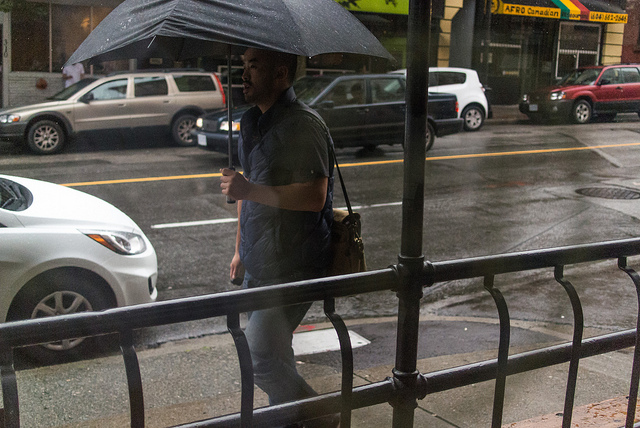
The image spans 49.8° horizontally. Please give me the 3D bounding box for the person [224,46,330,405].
[{"bbox_3d":[-0.247,0.097,4.663,0.728,2.485,1.361,-4,8,-6],"label":"person"}]

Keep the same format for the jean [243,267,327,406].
[{"bbox_3d":[-0.286,0.758,5.161,0.992,0.999,0.513,-1,1,-11],"label":"jean"}]

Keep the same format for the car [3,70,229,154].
[{"bbox_3d":[-4.929,-2.383,17.627,5.556,2.068,2.379,-6,14,-28],"label":"car"}]
